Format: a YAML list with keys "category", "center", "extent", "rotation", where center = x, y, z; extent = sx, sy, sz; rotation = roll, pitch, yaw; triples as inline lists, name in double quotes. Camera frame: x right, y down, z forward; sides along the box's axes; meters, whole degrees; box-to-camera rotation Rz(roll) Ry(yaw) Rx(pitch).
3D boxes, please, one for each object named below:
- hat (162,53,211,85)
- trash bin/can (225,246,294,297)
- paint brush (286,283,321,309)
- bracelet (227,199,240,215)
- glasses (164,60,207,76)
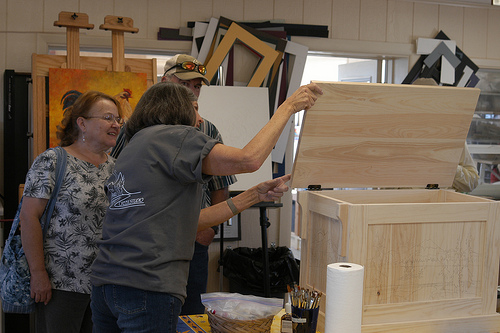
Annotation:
- category: "hat"
  center: [-0.463, -0.717, 4.212]
  extent: [0.303, 0.159, 0.199]
  rotation: [10, 4, 41]
- category: "trash bin/can"
  center: [0.101, 1.068, 5.763]
  extent: [0.646, 0.444, 0.585]
  rotation: [0, -15, -1]
- category: "paint brush"
  center: [0.321, 0.777, 3.462]
  extent: [0.156, 0.132, 0.180]
  rotation: [2, -7, -11]
- category: "bracelet"
  center: [-0.113, 0.263, 3.716]
  extent: [0.037, 0.097, 0.087]
  rotation: [-23, 17, -20]
- category: "glasses"
  center: [-0.474, -0.711, 4.187]
  extent: [0.156, 0.044, 0.146]
  rotation: [-10, -10, 35]
